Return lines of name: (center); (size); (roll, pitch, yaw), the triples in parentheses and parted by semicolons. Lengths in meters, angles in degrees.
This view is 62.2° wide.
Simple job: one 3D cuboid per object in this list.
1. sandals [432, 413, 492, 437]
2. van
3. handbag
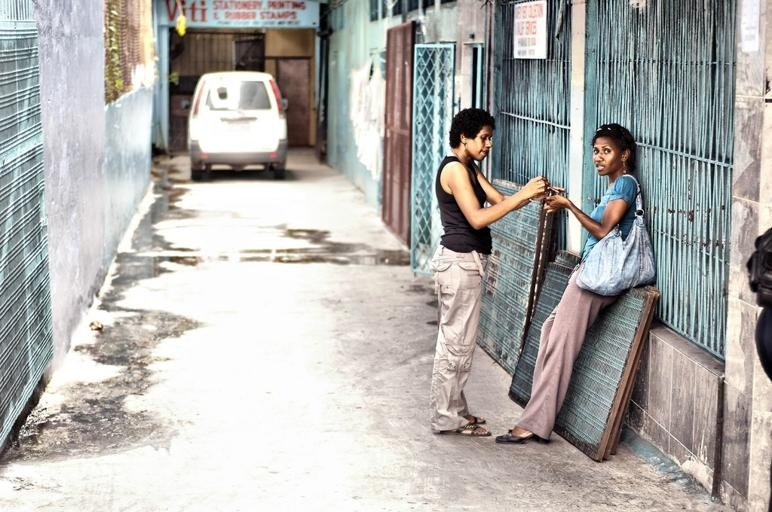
sandals: (0.571, 1.324, 4.934); (0.450, 0.220, 0.167); (-4, 3, -8)
van: (-3.853, -3.473, 16.409); (1.609, 1.711, 3.234); (-1, 20, -5)
handbag: (1.691, -0.159, 4.568); (0.588, 0.814, 0.325); (-19, 32, -36)
